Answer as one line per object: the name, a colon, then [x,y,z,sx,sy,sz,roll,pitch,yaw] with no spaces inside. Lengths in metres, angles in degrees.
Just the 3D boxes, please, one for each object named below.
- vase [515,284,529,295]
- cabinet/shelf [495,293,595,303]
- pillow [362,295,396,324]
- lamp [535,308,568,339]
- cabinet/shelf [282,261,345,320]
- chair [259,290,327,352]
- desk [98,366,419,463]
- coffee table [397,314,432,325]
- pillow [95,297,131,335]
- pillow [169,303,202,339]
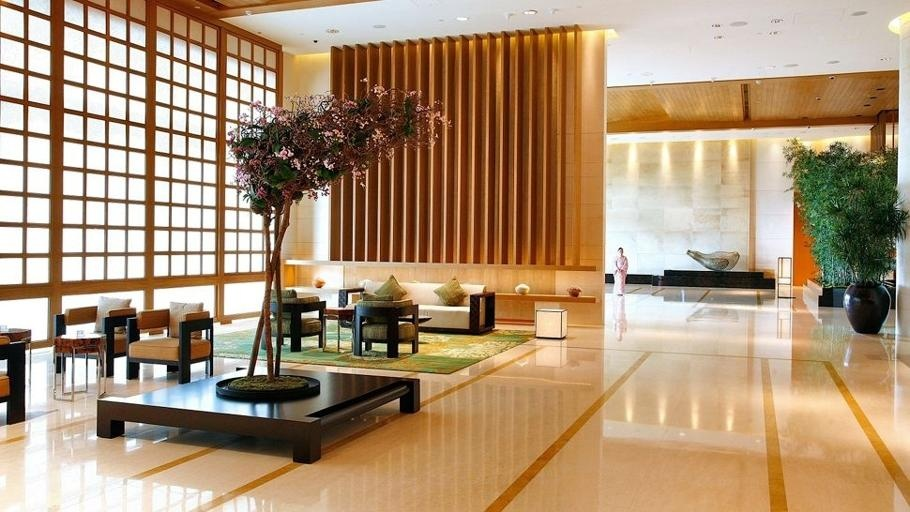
vase: [1.508,0.757,13.669,0.253,0.143,0.240,-2,1,24]
cabinet/shelf: [2.023,0.970,13.519,2.199,0.248,0.405,2,10,12]
pillow: [-1.366,0.945,10.699,0.620,0.487,0.254,4,7,5]
lamp: [1.904,1.360,12.286,0.651,0.542,0.595,1,0,19]
cabinet/shelf: [-3.050,0.745,13.254,1.570,1.090,0.471,0,-4,18]
chair: [-3.149,1.184,11.105,1.102,1.213,1.174,1,3,32]
desk: [-2.319,1.846,7.424,3.421,0.561,1.497,2,9,11]
coffee table: [-0.780,1.168,11.196,0.535,0.109,0.509,0,0,3]
pillow: [-5.267,0.939,9.306,0.590,0.412,0.273,-5,4,19]
pillow: [-3.992,0.973,8.970,0.613,0.379,0.207,-3,-18,31]
